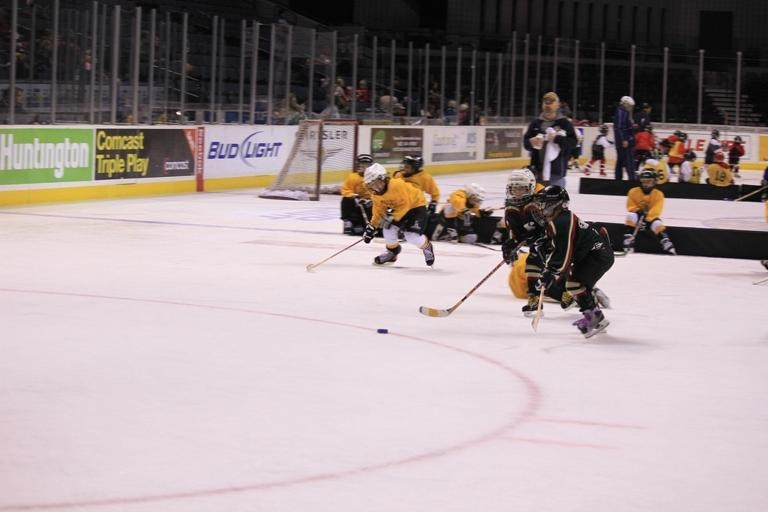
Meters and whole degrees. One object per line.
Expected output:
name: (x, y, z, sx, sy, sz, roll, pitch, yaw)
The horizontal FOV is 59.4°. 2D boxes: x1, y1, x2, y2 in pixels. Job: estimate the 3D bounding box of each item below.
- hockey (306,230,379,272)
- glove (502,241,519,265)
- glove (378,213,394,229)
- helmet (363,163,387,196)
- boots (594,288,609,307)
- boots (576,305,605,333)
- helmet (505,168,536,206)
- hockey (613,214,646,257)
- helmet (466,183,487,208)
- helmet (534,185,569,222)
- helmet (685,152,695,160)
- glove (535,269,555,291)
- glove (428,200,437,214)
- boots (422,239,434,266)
hockey: (-0.621, 0.016, 7.468, 0.261, 0.164, 1.712, 11, -17, -40)
glove: (1.137, -0.028, 6.046, 0.177, 0.188, 0.081, 21, 13, 17)
glove: (0.021, -0.394, 7.648, 0.188, 0.067, 0.213, 2, 17, 3)
helmet: (-0.079, -0.873, 7.630, 0.267, 0.341, 0.532, 3, 12, 0)
boots: (1.817, 0.352, 5.619, 0.063, 0.184, 0.083, -41, 6, 48)
boots: (1.537, 0.481, 4.973, 0.229, 0.232, 0.134, 5, 14, 12)
helmet: (1.252, -0.645, 6.273, 0.328, 0.280, 0.389, 1, 13, 29)
hockey: (3.237, -0.236, 8.780, 0.246, 0.528, 0.472, 24, -13, -35)
helmet: (1.210, -0.797, 9.061, 0.249, 0.320, 0.236, 4, 14, 3)
helmet: (1.281, -0.397, 5.132, 0.225, 0.277, 0.312, 7, 13, 15)
helmet: (7.829, -2.556, 17.143, 0.271, 0.229, 0.291, -2, 19, 9)
glove: (1.242, 0.174, 5.111, 0.145, 0.140, 0.208, 19, 16, 10)
glove: (0.654, -0.655, 9.013, 0.141, 0.140, 0.161, -5, 15, 6)
boots: (0.508, -0.038, 7.614, 0.136, 0.296, 0.148, -6, 16, 16)
